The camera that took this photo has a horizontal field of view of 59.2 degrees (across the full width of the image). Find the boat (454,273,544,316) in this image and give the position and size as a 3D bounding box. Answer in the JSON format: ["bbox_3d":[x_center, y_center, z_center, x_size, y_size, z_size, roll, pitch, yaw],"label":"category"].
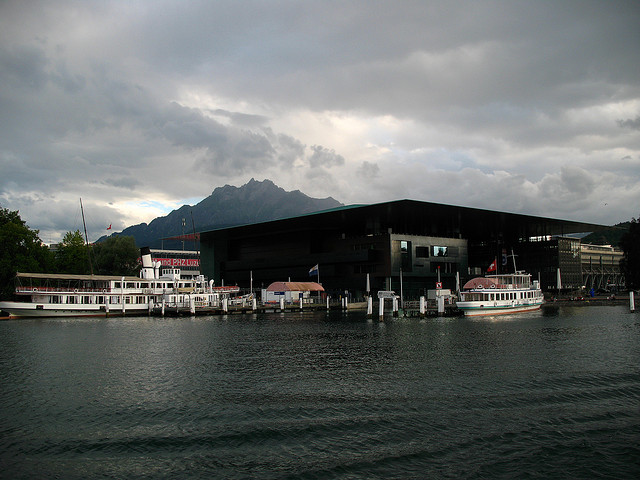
[{"bbox_3d":[26.913,8.136,83.881,18.996,6.013,5.476,0,-2,-38],"label":"boat"}]
